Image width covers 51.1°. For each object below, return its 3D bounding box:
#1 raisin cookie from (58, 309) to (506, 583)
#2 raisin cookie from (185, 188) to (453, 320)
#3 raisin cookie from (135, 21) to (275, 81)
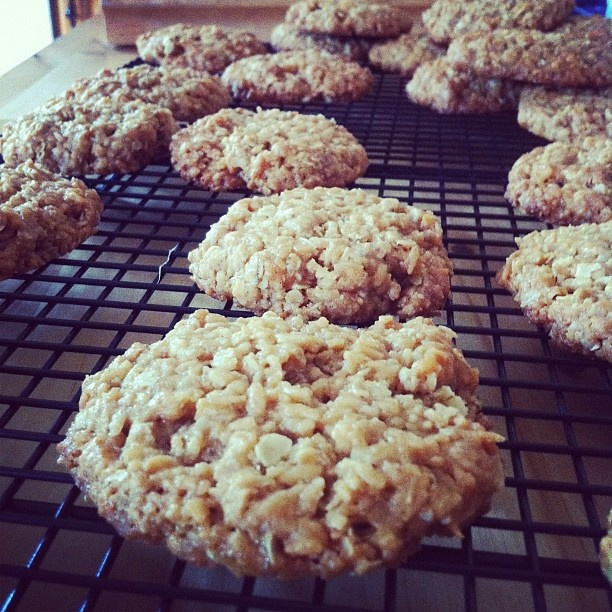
[{"bbox_3d":[-0.036,0.218,0.934,0.593,0.123,0.418,4,34,3],"label":"raisin cookie"},{"bbox_3d":[0.044,-0.151,1.359,0.525,0.120,0.421,10,41,8],"label":"raisin cookie"},{"bbox_3d":[-0.423,-0.938,2.312,0.359,0.088,0.288,14,32,20],"label":"raisin cookie"}]
